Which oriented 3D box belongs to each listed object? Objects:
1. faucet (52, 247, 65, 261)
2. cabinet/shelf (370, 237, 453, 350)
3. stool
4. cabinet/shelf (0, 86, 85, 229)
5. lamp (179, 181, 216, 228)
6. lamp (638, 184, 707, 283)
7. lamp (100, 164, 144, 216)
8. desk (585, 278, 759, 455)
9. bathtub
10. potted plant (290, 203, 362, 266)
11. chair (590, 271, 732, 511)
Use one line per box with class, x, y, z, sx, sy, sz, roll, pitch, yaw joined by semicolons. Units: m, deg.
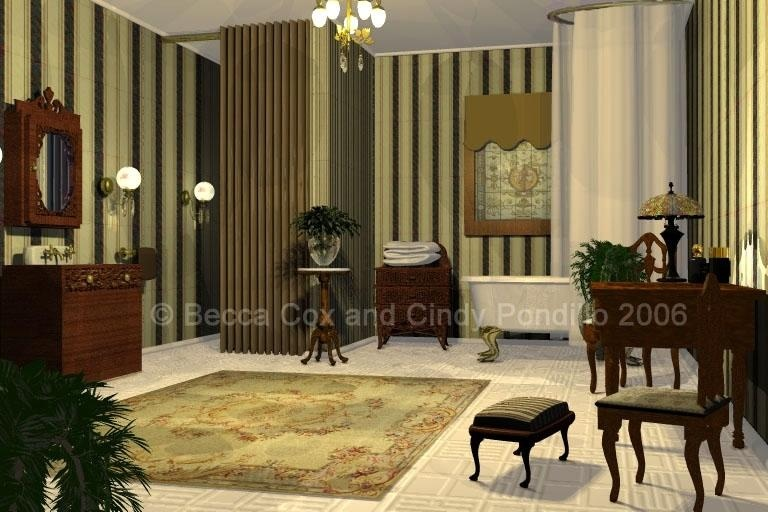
faucet;-3.278;-0.018;5.820;0.063;0.122;0.202;0;1;-15
cabinet/shelf;0.411;0.504;7.880;0.968;1.338;0.723;0;0;2
stool;0.844;1.083;3.469;0.458;0.390;0.687;-1;-1;31
cabinet/shelf;-3.456;-0.998;5.889;0.231;1.424;0.804;1;2;23
lamp;-2.490;-0.718;7.963;0.286;0.565;0.663;0;2;14
lamp;2.417;-0.213;4.867;0.480;0.809;0.650;1;2;29
lamp;-3.001;-0.760;6.786;0.313;0.564;0.621;0;2;14
desk;1.838;0.694;3.644;1.076;1.030;0.736;-1;-2;21
bathtub;1.840;0.856;7.511;1.815;0.869;0.685;5;-10;-26
potted plant;-0.662;-0.264;6.662;0.724;0.641;0.739;1;0;40
chair;1.512;0.688;3.109;0.657;1.175;0.460;1;2;25
